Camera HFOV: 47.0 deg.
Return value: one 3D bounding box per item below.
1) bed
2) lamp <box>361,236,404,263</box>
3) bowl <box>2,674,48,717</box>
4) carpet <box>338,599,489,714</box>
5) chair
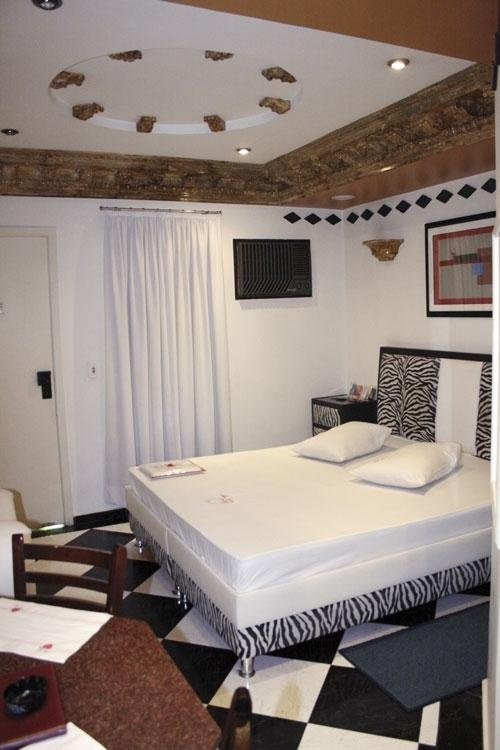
[{"bbox_3d":[0.538,0.727,3.217,1.845,1.096,1.718,-4,9,-26],"label":"bed"},{"bbox_3d":[1.149,-1.053,4.822,0.295,0.182,0.283,-6,6,-43],"label":"lamp"},{"bbox_3d":[-0.445,0.637,1.136,0.057,0.023,0.054,-3,21,1],"label":"bowl"},{"bbox_3d":[0.860,1.242,2.563,0.796,0.026,0.509,-4,5,-23],"label":"carpet"},{"bbox_3d":[-0.567,0.623,1.765,0.468,0.276,0.148,0,5,29],"label":"chair"}]
